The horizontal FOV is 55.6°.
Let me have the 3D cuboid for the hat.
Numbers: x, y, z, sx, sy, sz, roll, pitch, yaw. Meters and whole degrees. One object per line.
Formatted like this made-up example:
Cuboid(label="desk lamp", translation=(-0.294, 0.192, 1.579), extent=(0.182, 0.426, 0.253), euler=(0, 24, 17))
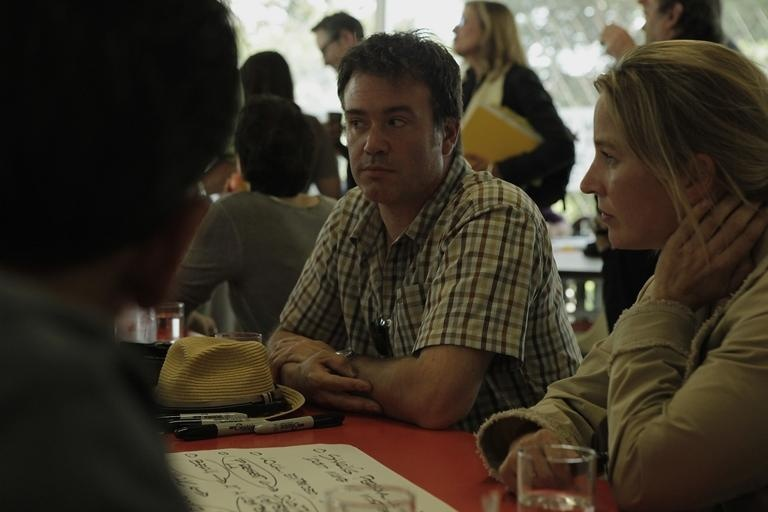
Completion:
Cuboid(label="hat", translation=(-0.394, 0.296, 1.750), extent=(0.255, 0.095, 0.275), euler=(1, -2, 8))
